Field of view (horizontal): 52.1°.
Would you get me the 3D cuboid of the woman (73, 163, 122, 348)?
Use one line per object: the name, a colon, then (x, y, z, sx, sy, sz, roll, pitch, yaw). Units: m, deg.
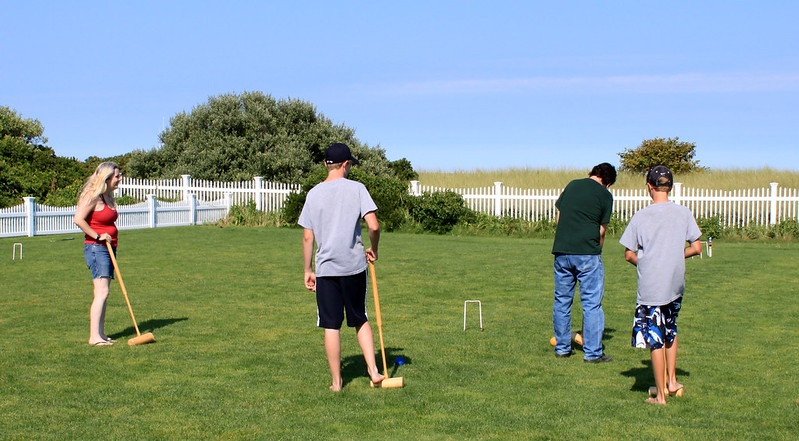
woman: (-6.223, 0.662, 16.870, 0.824, 3.738, 0.754, -1, 2, -20)

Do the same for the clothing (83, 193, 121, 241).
clothing: (-6.103, 0.057, 16.779, 0.685, 1.146, 0.865, -2, 0, 18)

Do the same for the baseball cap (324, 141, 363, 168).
baseball cap: (-1.065, -1.237, 15.386, 0.402, 0.355, 0.596, 9, 16, 35)

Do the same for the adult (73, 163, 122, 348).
adult: (-6.228, 0.662, 16.886, 0.826, 3.738, 0.790, -1, 2, -20)

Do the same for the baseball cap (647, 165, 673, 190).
baseball cap: (4.858, -0.832, 15.363, 0.353, 0.302, 0.533, 1, 7, 0)

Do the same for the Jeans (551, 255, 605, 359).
Jeans: (3.590, 1.706, 16.367, 0.951, 2.074, 0.370, 0, 2, 16)
